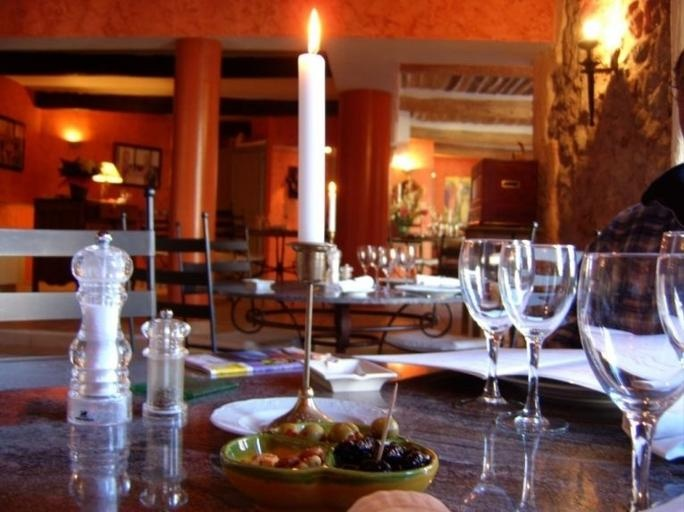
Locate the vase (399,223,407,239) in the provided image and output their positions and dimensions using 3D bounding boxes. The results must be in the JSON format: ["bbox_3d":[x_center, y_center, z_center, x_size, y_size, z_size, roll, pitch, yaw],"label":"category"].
[{"bbox_3d":[0.704,-0.288,7.528,0.110,0.179,0.119,-6,10,-36],"label":"vase"}]

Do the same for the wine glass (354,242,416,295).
[{"bbox_3d":[0.262,0.046,3.039,0.335,0.362,0.378,1,3,-5],"label":"wine glass"}]

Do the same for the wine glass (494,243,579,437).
[{"bbox_3d":[0.264,0.110,0.921,0.126,0.250,0.131,1,0,18],"label":"wine glass"}]

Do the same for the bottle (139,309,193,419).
[{"bbox_3d":[-0.246,0.148,0.921,0.055,0.168,0.061,4,7,6],"label":"bottle"}]

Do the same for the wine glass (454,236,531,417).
[{"bbox_3d":[0.234,0.099,0.992,0.096,0.262,0.097,2,7,15],"label":"wine glass"}]

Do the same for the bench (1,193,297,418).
[{"bbox_3d":[-0.615,0.169,1.820,0.271,0.703,0.709,-2,-3,38],"label":"bench"}]
